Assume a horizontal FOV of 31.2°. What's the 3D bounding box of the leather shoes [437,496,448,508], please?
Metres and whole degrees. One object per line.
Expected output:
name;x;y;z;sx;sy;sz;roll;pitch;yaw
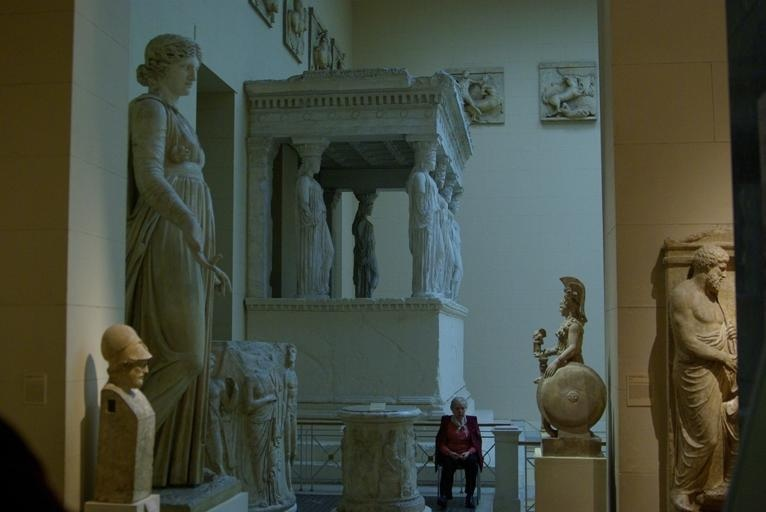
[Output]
leather shoes;0.678;2.846;15.717;0.054;0.068;0.163;7;-40;19

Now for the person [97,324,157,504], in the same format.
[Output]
person;-2.199;1.368;11.668;0.512;1.522;0.236;-1;-5;-14

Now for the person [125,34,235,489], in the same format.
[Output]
person;-1.878;0.049;12.351;0.836;4.083;0.778;0;-5;-21

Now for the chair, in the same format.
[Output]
chair;0.884;2.398;16.035;0.542;1.006;0.540;-2;-5;3

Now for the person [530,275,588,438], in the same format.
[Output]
person;1.779;1.078;14.088;0.597;1.683;0.539;-4;-8;34

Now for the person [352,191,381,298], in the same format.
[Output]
person;-0.256;-0.150;20.644;0.368;1.572;0.605;-2;-5;-2

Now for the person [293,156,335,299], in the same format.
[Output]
person;-0.887;-0.310;17.878;0.312;1.817;0.672;-5;-6;31
